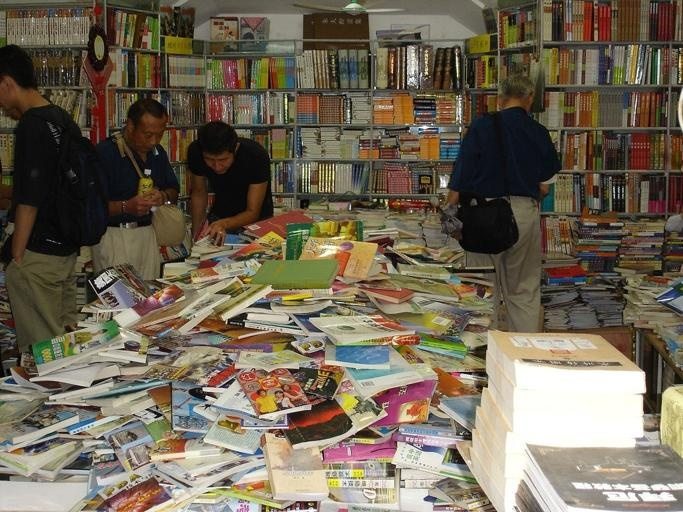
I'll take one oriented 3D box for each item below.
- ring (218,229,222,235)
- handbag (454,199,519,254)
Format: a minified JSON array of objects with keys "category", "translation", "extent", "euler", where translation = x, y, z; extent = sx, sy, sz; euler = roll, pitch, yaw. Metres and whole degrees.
[{"category":"ring","translation":[-0.650,-0.122,2.843],"extent":[0.026,0.005,0.021],"euler":[-9,41,-8]},{"category":"handbag","translation":[0.946,-0.199,3.355],"extent":[0.230,0.348,0.437],"euler":[-23,18,-32]}]
